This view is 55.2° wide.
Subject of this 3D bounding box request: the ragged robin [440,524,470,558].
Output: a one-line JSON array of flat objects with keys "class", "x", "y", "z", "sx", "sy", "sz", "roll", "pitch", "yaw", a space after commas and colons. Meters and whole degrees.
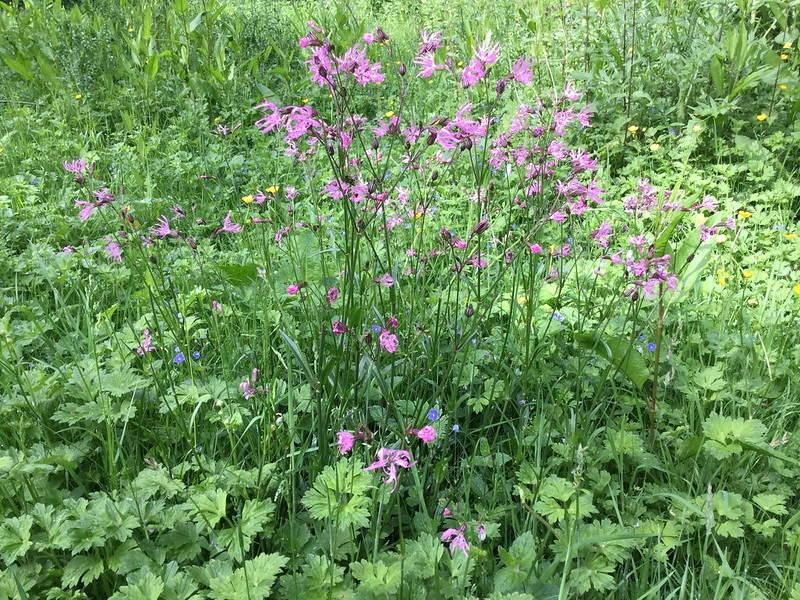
[{"class": "ragged robin", "x": 0.228, "y": 1.061, "z": 3.399, "sx": 0.056, "sy": 0.160, "sz": 0.137, "roll": -26, "pitch": 8, "yaw": -37}]
